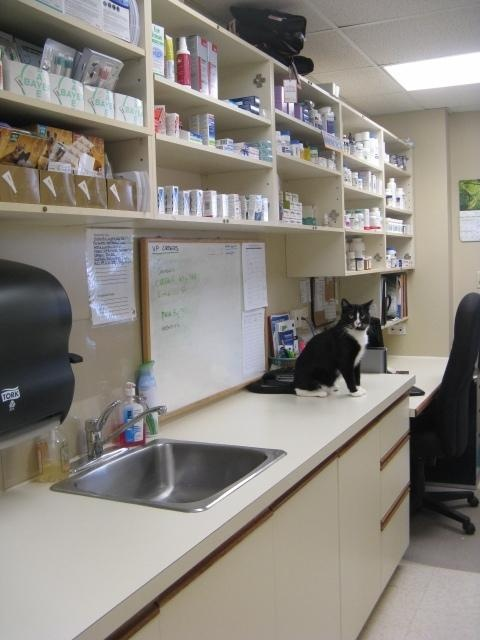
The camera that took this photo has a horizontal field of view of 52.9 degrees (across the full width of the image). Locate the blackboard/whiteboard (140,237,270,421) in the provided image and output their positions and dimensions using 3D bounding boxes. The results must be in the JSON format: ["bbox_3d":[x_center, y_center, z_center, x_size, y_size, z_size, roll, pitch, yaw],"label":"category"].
[{"bbox_3d":[-0.128,0.004,1.961,0.023,0.637,0.867,4,5,30],"label":"blackboard/whiteboard"}]

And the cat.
[{"bbox_3d":[0.301,0.114,2.163,0.512,0.455,0.243,4,13,13],"label":"cat"}]

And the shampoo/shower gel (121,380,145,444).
[{"bbox_3d":[-0.332,0.280,1.471,0.080,0.198,0.046,-2,12,-10],"label":"shampoo/shower gel"}]

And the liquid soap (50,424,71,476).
[{"bbox_3d":[-0.444,0.323,1.195,0.031,0.096,0.061,-2,2,21],"label":"liquid soap"}]

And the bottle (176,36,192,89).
[{"bbox_3d":[-0.165,-0.742,1.397,0.045,0.184,0.104,-2,2,-5],"label":"bottle"}]

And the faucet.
[{"bbox_3d":[-0.340,0.293,1.421,0.215,0.109,0.220,-3,1,-19],"label":"faucet"}]
